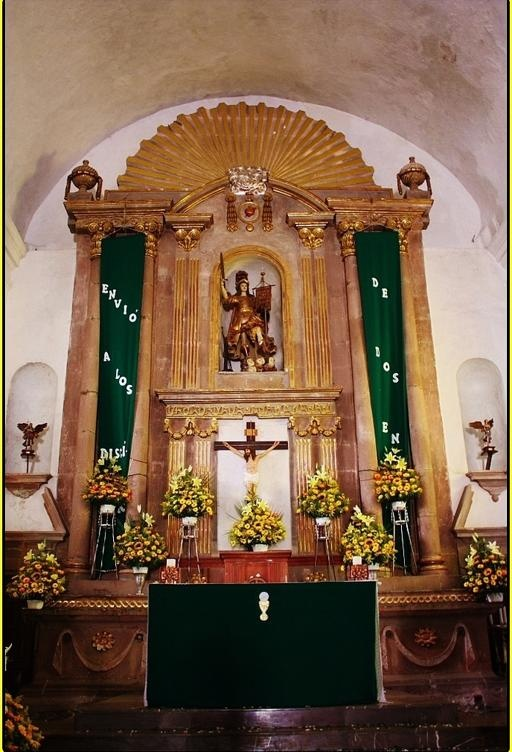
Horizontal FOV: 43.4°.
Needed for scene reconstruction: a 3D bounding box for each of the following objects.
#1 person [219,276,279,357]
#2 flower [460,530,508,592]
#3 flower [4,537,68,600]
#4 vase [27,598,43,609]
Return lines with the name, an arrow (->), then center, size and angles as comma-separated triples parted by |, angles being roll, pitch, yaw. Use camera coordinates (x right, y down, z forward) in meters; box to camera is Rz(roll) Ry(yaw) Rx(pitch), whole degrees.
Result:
person -> -0.115, -0.782, 8.652 | 0.698, 1.373, 0.362 | -1, -16, -3
flower -> 2.243, 1.849, 6.289 | 0.421, 0.565, 0.364 | -7, -17, 16
flower -> -2.106, 1.890, 6.242 | 0.591, 0.761, 0.539 | 4, -21, -18
vase -> -2.067, 2.118, 5.992 | 0.109, 0.067, 0.112 | -3, -9, 30
